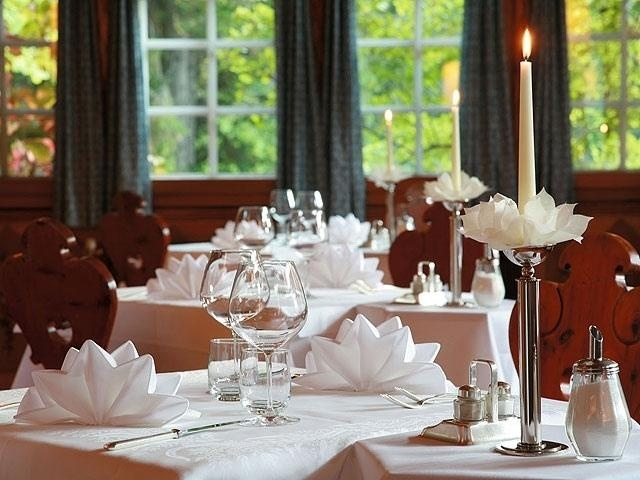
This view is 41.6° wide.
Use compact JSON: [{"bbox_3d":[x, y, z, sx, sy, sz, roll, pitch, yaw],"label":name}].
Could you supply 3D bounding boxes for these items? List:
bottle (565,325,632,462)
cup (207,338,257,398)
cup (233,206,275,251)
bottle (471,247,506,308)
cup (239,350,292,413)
[{"bbox_3d":[0.490,0.259,1.462,0.092,0.228,0.137,0,5,43],"label":"bottle"},{"bbox_3d":[-0.195,0.269,1.813,0.101,0.124,0.101,0,2,0],"label":"cup"},{"bbox_3d":[-0.231,-0.038,2.978,0.134,0.229,0.135,0,2,0],"label":"cup"},{"bbox_3d":[0.566,0.123,2.834,0.098,0.188,0.212,-2,3,16],"label":"bottle"},{"bbox_3d":[-0.107,0.276,1.680,0.100,0.131,0.112,0,-2,-13],"label":"cup"}]
